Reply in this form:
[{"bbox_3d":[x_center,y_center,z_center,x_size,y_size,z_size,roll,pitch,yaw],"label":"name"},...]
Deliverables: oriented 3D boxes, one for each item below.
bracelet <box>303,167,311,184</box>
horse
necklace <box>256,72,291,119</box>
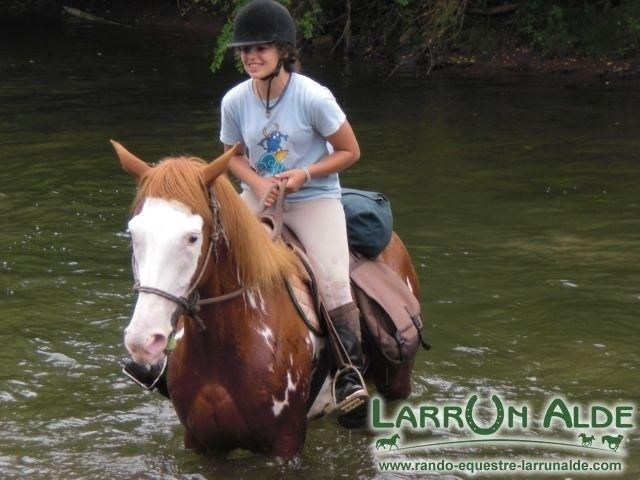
[{"bbox_3d":[-0.110,-0.630,9.078,0.055,0.127,0.111,-17,21,-36],"label":"bracelet"},{"bbox_3d":[-0.941,0.674,8.552,2.161,3.097,0.901,-12,20,-31],"label":"horse"},{"bbox_3d":[-0.471,-1.410,9.058,0.297,0.384,0.110,6,1,39],"label":"necklace"}]
